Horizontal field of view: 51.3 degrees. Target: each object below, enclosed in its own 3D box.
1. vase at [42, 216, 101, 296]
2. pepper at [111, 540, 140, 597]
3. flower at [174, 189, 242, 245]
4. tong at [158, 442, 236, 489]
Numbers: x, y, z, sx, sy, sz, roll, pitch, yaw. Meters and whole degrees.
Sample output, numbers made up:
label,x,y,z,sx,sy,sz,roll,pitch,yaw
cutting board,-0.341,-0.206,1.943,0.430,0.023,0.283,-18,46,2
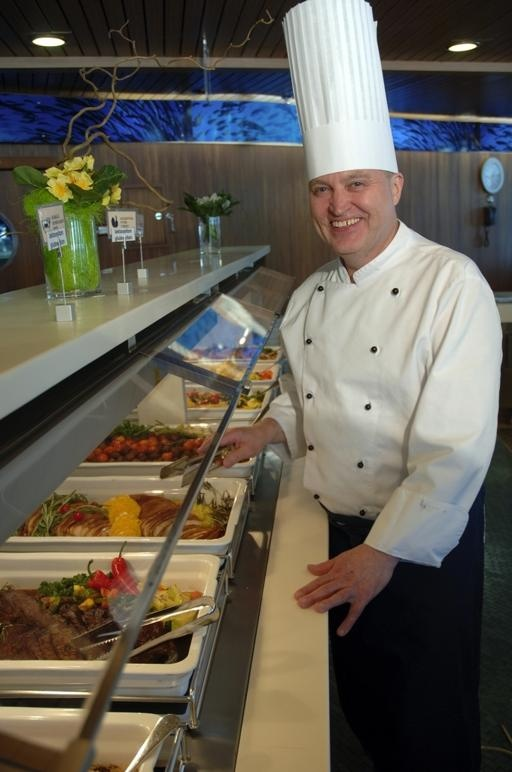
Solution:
label,x,y,z,sx,sy,sz,roll,pitch,yaw
vase,-0.407,-0.277,1.198,0.118,0.187,0.127,-5,1,13
pepper,-0.191,0.249,0.740,0.026,0.054,0.020,-9,26,-42
flower,-0.284,-1.051,3.353,0.348,0.301,0.267,10,26,18
tong,-0.085,0.128,0.855,0.142,0.033,0.037,-16,50,-32
